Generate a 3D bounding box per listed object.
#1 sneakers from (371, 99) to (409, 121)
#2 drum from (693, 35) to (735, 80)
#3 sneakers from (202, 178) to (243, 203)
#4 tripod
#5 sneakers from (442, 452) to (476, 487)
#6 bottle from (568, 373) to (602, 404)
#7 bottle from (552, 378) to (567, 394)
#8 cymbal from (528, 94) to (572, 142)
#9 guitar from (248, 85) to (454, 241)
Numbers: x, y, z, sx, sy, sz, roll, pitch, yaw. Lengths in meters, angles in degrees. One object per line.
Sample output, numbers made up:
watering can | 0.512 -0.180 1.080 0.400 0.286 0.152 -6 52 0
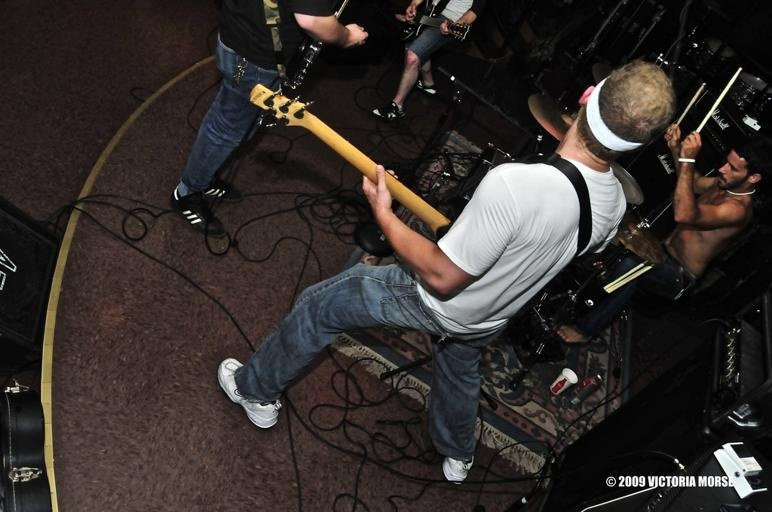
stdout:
sneakers | 0.021 -1.377 6.009 0.285 0.118 0.160 -18 67 -31
drum | 2.831 -1.724 5.532 0.155 0.305 0.382 13 45 -12
sneakers | -1.268 -0.494 4.874 0.271 0.115 0.121 0 54 -27
tripod | 1.168 0.505 4.730 0.431 1.118 0.152 42 71 16
sneakers | 0.448 1.399 4.152 0.267 0.107 0.119 0 87 -16
bottle | 1.468 0.998 4.751 0.085 0.277 0.078 39 22 -19
bottle | 1.260 0.960 4.690 0.039 0.129 0.073 -26 75 -23
cymbal | 1.227 -1.070 4.838 0.436 0.053 0.446 5 49 -42
guitar | -0.259 -0.696 4.056 1.678 0.241 0.234 37 69 25
